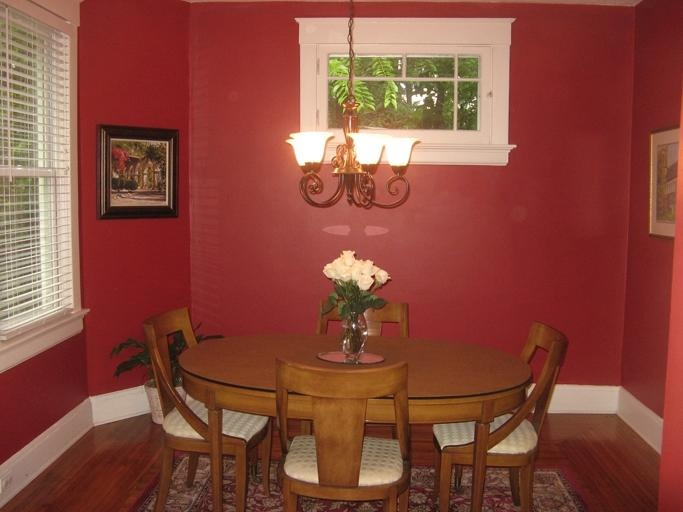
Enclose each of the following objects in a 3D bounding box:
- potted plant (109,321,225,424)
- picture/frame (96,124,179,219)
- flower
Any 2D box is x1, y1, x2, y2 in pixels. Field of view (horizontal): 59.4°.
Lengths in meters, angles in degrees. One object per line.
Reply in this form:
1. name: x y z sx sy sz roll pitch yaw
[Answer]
1. potted plant: -1.367 0.949 4.646 0.726 0.644 0.649 0 3 26
2. picture/frame: -1.608 -0.664 4.620 0.670 0.844 0.056 -3 8 -34
3. flower: 0.067 0.319 3.492 0.362 0.603 0.373 2 6 5
